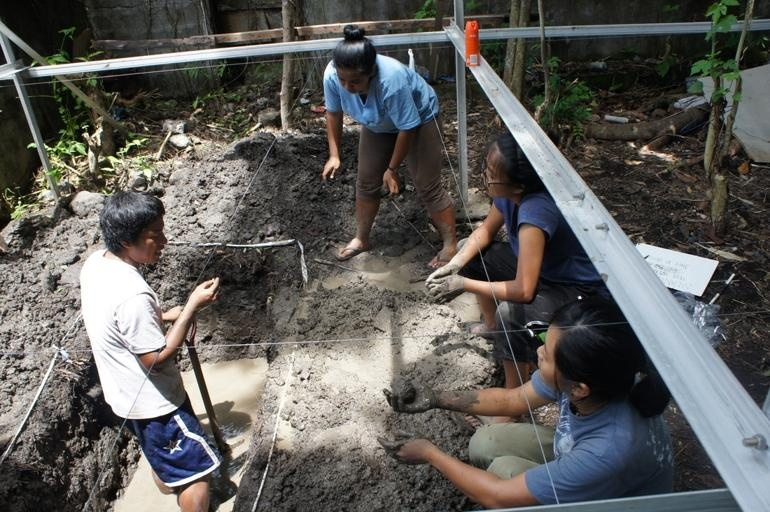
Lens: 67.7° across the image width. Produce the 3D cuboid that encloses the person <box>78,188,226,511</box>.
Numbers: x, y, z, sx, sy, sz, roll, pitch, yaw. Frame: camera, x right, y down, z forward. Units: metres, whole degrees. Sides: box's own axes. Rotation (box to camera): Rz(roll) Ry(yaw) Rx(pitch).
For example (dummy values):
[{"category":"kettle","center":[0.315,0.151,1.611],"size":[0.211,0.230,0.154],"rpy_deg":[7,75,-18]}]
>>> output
[{"category":"person","center":[-1.368,0.592,3.404],"size":[0.592,1.836,0.700],"rpy_deg":[-32,63,-29]}]

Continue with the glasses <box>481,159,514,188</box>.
[{"category":"glasses","center":[0.628,-0.474,3.287],"size":[0.052,0.150,0.137],"rpy_deg":[-15,18,-38]}]

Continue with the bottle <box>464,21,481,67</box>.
[{"category":"bottle","center":[0.601,-1.465,3.958],"size":[0.105,0.298,0.212],"rpy_deg":[-1,30,8]}]

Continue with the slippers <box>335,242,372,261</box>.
[{"category":"slippers","center":[-0.267,-0.027,4.620],"size":[0.220,0.096,0.132],"rpy_deg":[-12,36,13]}]
